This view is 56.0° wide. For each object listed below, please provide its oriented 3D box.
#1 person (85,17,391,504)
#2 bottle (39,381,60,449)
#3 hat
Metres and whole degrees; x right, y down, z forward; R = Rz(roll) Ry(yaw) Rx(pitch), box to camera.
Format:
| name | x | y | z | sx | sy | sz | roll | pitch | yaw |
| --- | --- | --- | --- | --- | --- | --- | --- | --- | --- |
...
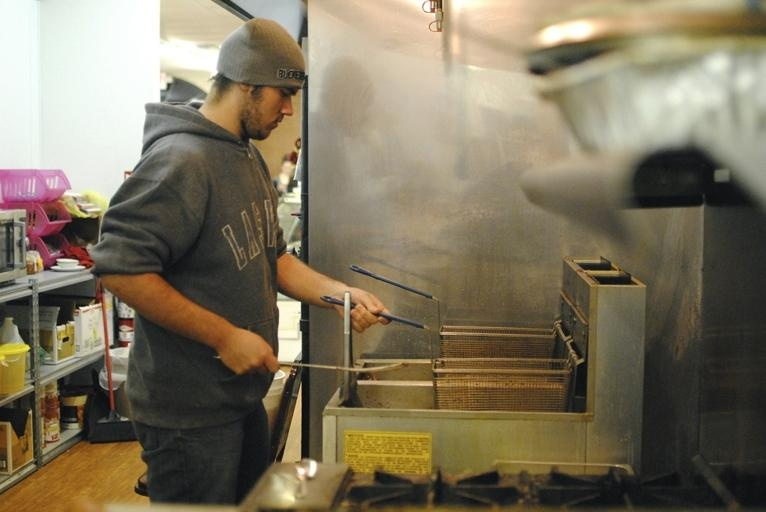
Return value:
| name | x | y | z | sx | sy | sz | roll | pitch | yaw |
| --- | --- | --- | --- | --- | --- | --- | --- | --- | --- |
| person | -0.536 | 0.069 | 2.391 | 0.785 | 1.678 | 0.449 | -1 | 7 | -23 |
| bottle | -1.835 | 0.866 | 3.997 | 0.066 | 0.355 | 0.336 | 1 | 6 | -10 |
| hat | -0.365 | -0.638 | 2.346 | 0.272 | 0.169 | 0.192 | 17 | 20 | -5 |
